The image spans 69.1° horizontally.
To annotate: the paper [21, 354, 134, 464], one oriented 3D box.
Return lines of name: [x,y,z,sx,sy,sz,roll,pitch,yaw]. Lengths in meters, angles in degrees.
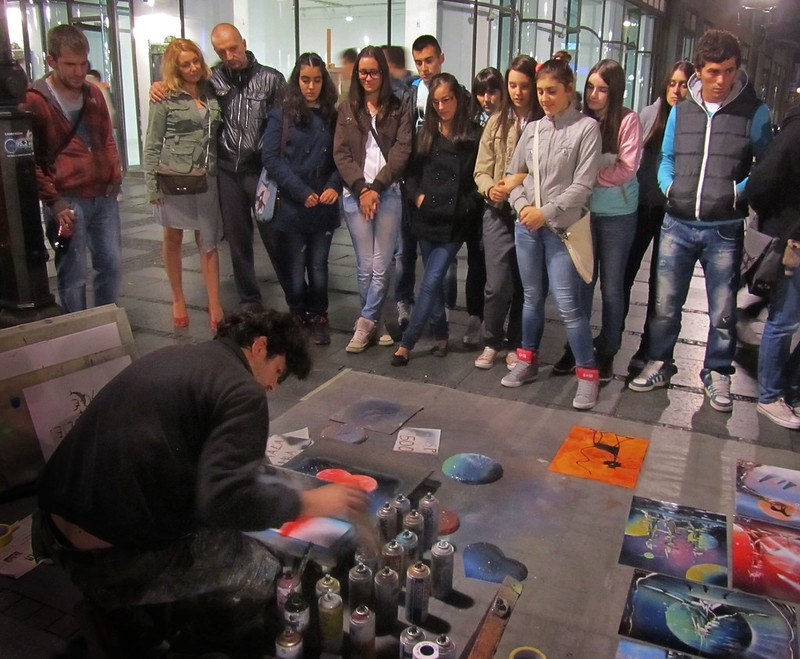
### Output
paper: [-1.482,0.359,2.590,0.048,0.361,0.484,-4,14,42]

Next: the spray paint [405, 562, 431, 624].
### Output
spray paint: [0.071,1.058,2.367,0.096,0.248,0.098,3,10,8]

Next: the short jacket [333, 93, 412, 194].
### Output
short jacket: [-0.216,-1.535,4.788,0.676,0.985,0.528,2,19,3]

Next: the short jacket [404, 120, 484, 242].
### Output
short jacket: [0.334,-1.155,4.660,0.610,0.823,0.288,6,1,16]

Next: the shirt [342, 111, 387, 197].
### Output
shirt: [-0.325,-1.477,5.009,0.461,0.666,0.178,4,3,15]

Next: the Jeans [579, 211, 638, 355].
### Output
Jeans: [1.617,-0.371,4.487,0.242,1.080,0.378,-3,14,-16]

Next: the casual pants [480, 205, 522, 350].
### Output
casual pants: [0.852,-0.425,4.760,0.342,1.259,0.296,-2,-7,-13]

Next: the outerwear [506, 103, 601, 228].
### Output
outerwear: [1.094,-1.130,4.035,0.424,0.757,0.577,-21,38,-38]

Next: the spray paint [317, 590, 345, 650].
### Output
spray paint: [-0.260,1.098,2.177,0.090,0.237,0.071,-6,18,-13]

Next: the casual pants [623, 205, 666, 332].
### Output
casual pants: [2.017,-0.567,4.729,0.285,1.008,0.218,4,-21,35]

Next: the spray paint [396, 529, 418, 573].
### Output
spray paint: [0.024,0.967,2.546,0.103,0.188,0.108,0,14,-11]

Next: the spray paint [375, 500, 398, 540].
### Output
spray paint: [-0.051,0.892,2.712,0.110,0.147,0.099,-9,19,-22]

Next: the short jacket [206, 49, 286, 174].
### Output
short jacket: [-1.358,-1.869,5.069,1.015,0.979,0.357,3,23,0]

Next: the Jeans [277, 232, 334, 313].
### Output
Jeans: [-0.834,-0.566,5.286,0.390,0.932,0.266,-6,-1,-1]

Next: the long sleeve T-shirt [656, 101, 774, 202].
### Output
long sleeve T-shirt: [2.169,-1.203,3.948,0.701,0.741,0.405,7,9,40]

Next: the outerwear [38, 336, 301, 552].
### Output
outerwear: [-0.815,0.440,2.049,0.882,0.694,0.350,2,18,10]

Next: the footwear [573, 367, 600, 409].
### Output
footwear: [1.359,0.420,4.218,0.122,0.179,0.377,3,12,22]

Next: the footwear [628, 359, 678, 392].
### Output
footwear: [1.961,0.328,4.536,0.493,0.225,0.167,-9,47,-35]

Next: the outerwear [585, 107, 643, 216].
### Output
outerwear: [1.495,-1.218,4.292,0.419,0.739,0.544,-25,30,-22]

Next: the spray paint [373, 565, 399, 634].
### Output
spray paint: [-0.056,1.072,2.319,0.098,0.252,0.107,-3,18,-6]

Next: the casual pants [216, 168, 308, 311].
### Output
casual pants: [-1.111,-0.814,5.308,0.321,1.375,0.468,-32,25,-19]

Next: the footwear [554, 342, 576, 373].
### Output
footwear: [1.343,0.261,4.790,0.105,0.200,0.274,-3,9,36]

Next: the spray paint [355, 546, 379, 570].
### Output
spray paint: [-0.137,0.933,2.374,0.073,0.077,0.078,5,4,-1]

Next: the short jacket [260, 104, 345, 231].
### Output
short jacket: [-0.856,-1.417,4.963,0.810,1.065,0.583,-12,19,-41]

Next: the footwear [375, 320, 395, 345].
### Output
footwear: [-0.142,0.050,5.236,0.091,0.173,0.269,-6,14,-22]

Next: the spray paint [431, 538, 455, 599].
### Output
spray paint: [0.186,1.011,2.532,0.099,0.245,0.167,0,18,5]
